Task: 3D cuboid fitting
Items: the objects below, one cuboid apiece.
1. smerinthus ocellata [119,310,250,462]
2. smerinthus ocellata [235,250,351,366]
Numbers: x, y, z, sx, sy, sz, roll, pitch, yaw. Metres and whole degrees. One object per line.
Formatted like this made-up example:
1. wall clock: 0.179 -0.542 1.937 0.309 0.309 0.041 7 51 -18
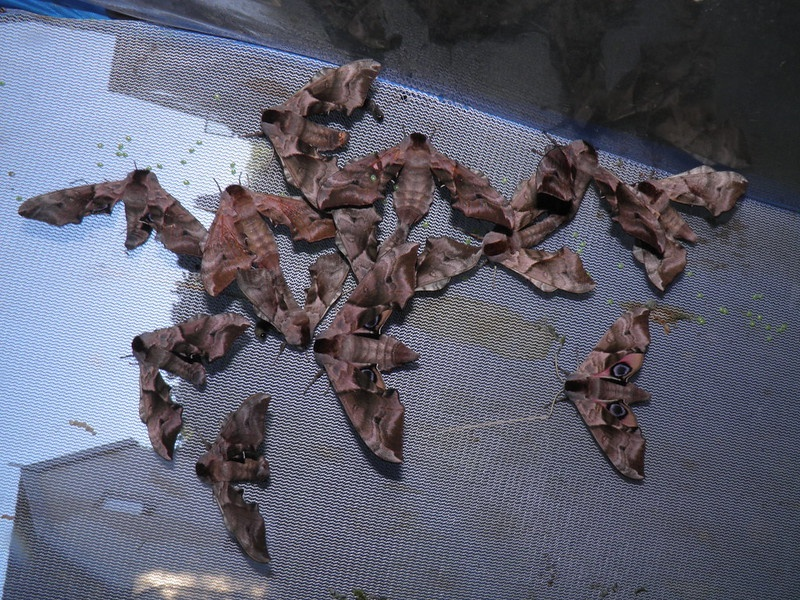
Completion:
1. smerinthus ocellata: -0.430 0.138 1.645 0.162 0.189 0.255 27 54 15
2. smerinthus ocellata: -0.198 0.002 1.642 0.266 0.072 0.158 -12 87 -42
